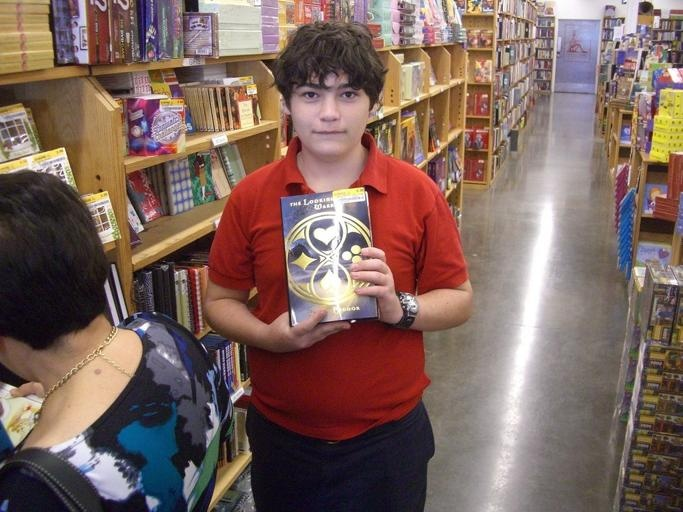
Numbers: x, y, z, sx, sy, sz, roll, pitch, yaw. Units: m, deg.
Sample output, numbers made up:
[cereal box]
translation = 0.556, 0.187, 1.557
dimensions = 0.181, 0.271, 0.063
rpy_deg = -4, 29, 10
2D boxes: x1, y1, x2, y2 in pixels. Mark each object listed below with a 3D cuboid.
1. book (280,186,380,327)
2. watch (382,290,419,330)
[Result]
[book]
translation = -0.034, 0.006, 1.256
dimensions = 0.233, 0.315, 0.163
rpy_deg = -3, 15, -9
[watch]
translation = 0.182, 0.159, 1.329
dimensions = 0.067, 0.110, 0.100
rpy_deg = 2, 3, -32
